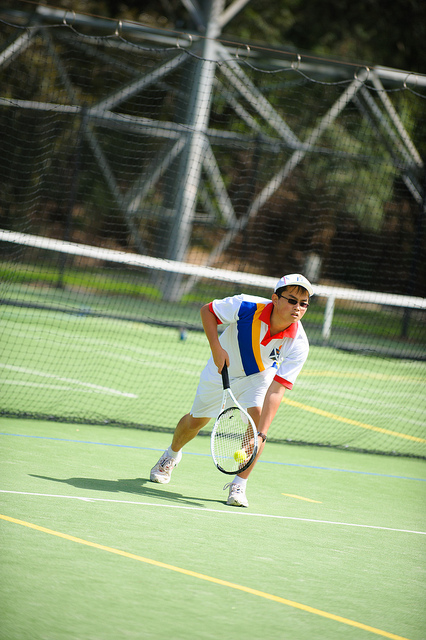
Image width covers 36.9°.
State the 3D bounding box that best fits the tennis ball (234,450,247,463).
[{"bbox_3d":[0.148,0.750,3.512,0.076,0.065,0.061,-4,63,-8],"label":"tennis ball"}]

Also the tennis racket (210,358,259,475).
[{"bbox_3d":[0.139,0.553,3.813,0.060,0.299,0.811,31,17,-23],"label":"tennis racket"}]
